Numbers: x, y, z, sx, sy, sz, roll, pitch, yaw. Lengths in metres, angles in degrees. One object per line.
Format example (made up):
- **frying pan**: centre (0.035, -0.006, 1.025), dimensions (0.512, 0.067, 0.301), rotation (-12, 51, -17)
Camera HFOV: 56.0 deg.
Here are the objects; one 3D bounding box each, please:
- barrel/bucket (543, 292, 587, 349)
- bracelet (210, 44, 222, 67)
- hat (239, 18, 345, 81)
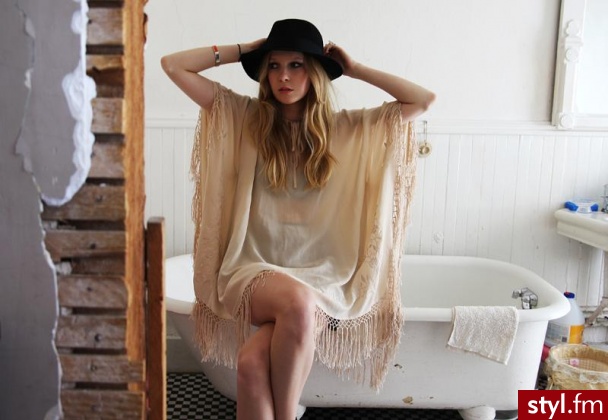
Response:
- **barrel/bucket**: centre (1.502, 0.609, 3.281), dimensions (0.172, 0.302, 0.149), rotation (12, 19, 41)
- **bracelet**: centre (-0.382, -0.686, 2.527), dimensions (0.044, 0.085, 0.032), rotation (0, 6, -22)
- **hat**: centre (-0.041, -0.747, 2.580), dimensions (0.423, 0.216, 0.426), rotation (6, -2, 3)
